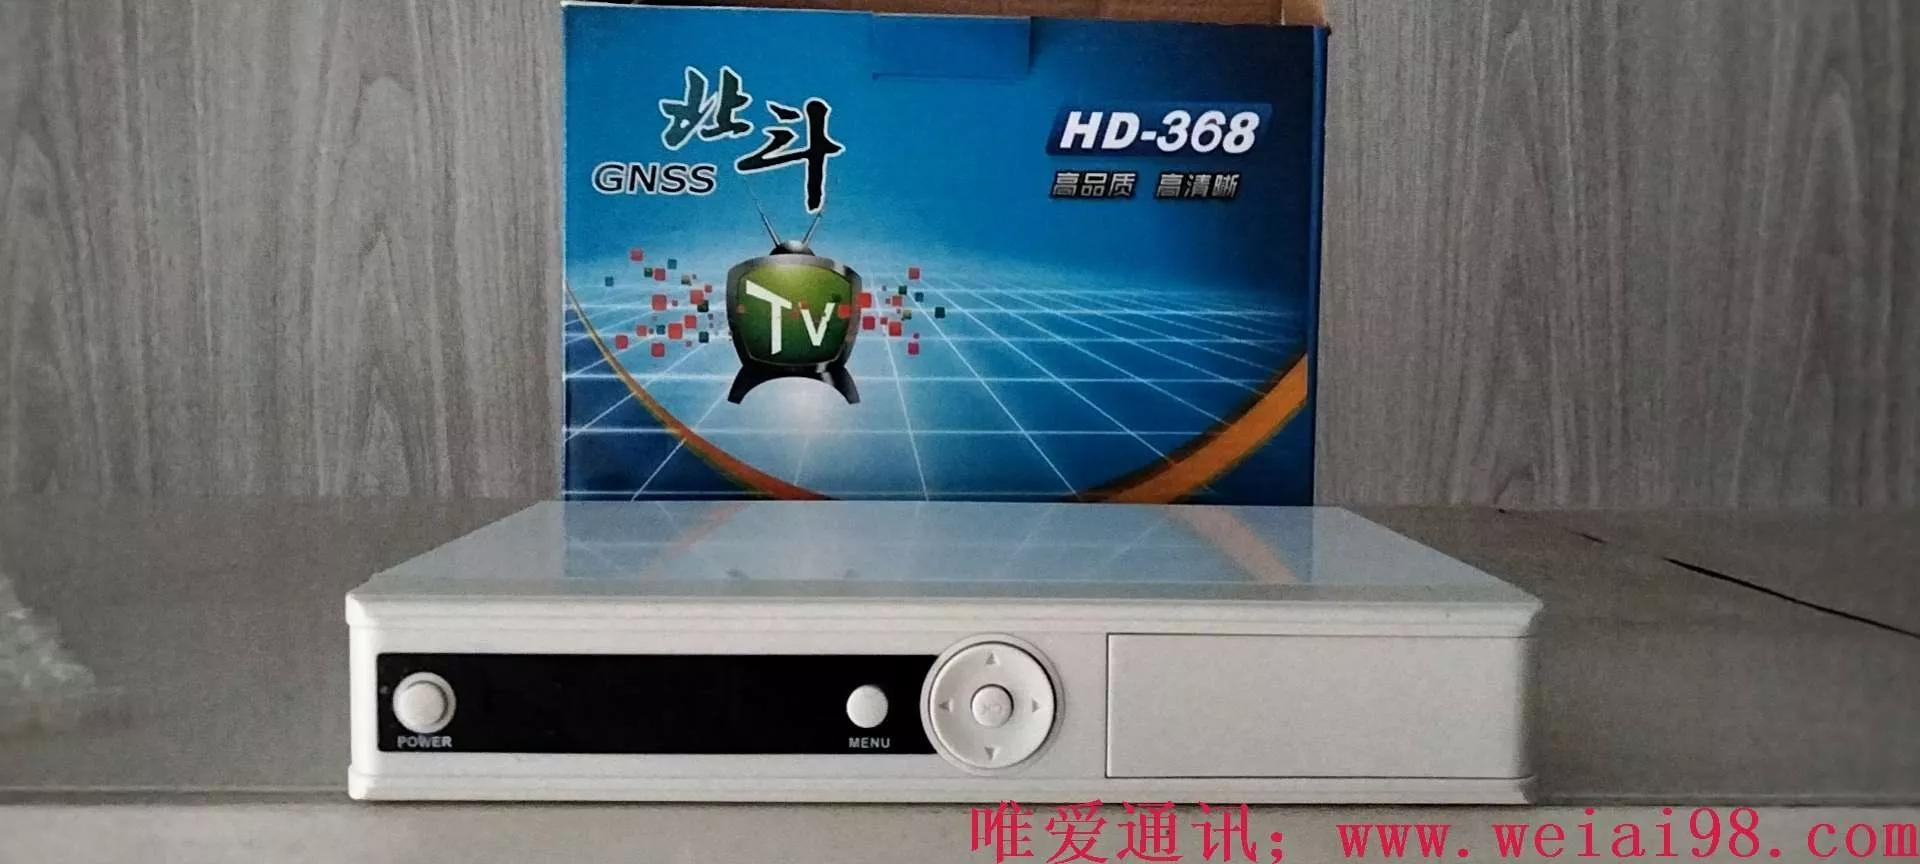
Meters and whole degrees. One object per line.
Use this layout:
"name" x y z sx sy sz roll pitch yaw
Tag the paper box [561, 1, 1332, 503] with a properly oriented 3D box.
"paper box" -0.008 -0.197 3.991 1.706 0.893 0.847 2 14 -2
